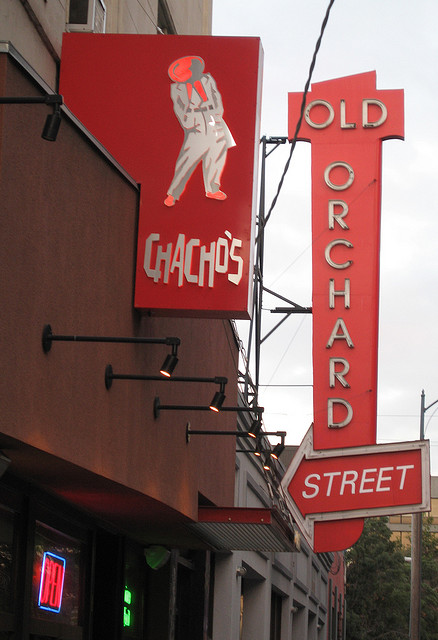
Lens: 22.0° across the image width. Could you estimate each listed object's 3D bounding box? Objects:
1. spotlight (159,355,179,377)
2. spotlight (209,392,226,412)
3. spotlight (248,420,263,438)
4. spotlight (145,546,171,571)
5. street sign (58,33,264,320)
[{"bbox_3d":[-0.411,0.369,9.454,0.118,0.226,0.242,2,-21,0],"label":"spotlight"},{"bbox_3d":[-0.006,0.757,10.370,0.135,0.177,0.261,3,-22,-2],"label":"spotlight"},{"bbox_3d":[0.406,1.203,12.265,0.132,0.222,0.320,0,-23,6],"label":"spotlight"},{"bbox_3d":[-0.777,3.029,14.299,0.313,0.283,0.273,4,-21,-4],"label":"spotlight"},{"bbox_3d":[-0.323,-1.447,10.885,1.343,2.823,0.224,2,-14,-20],"label":"street sign"}]
